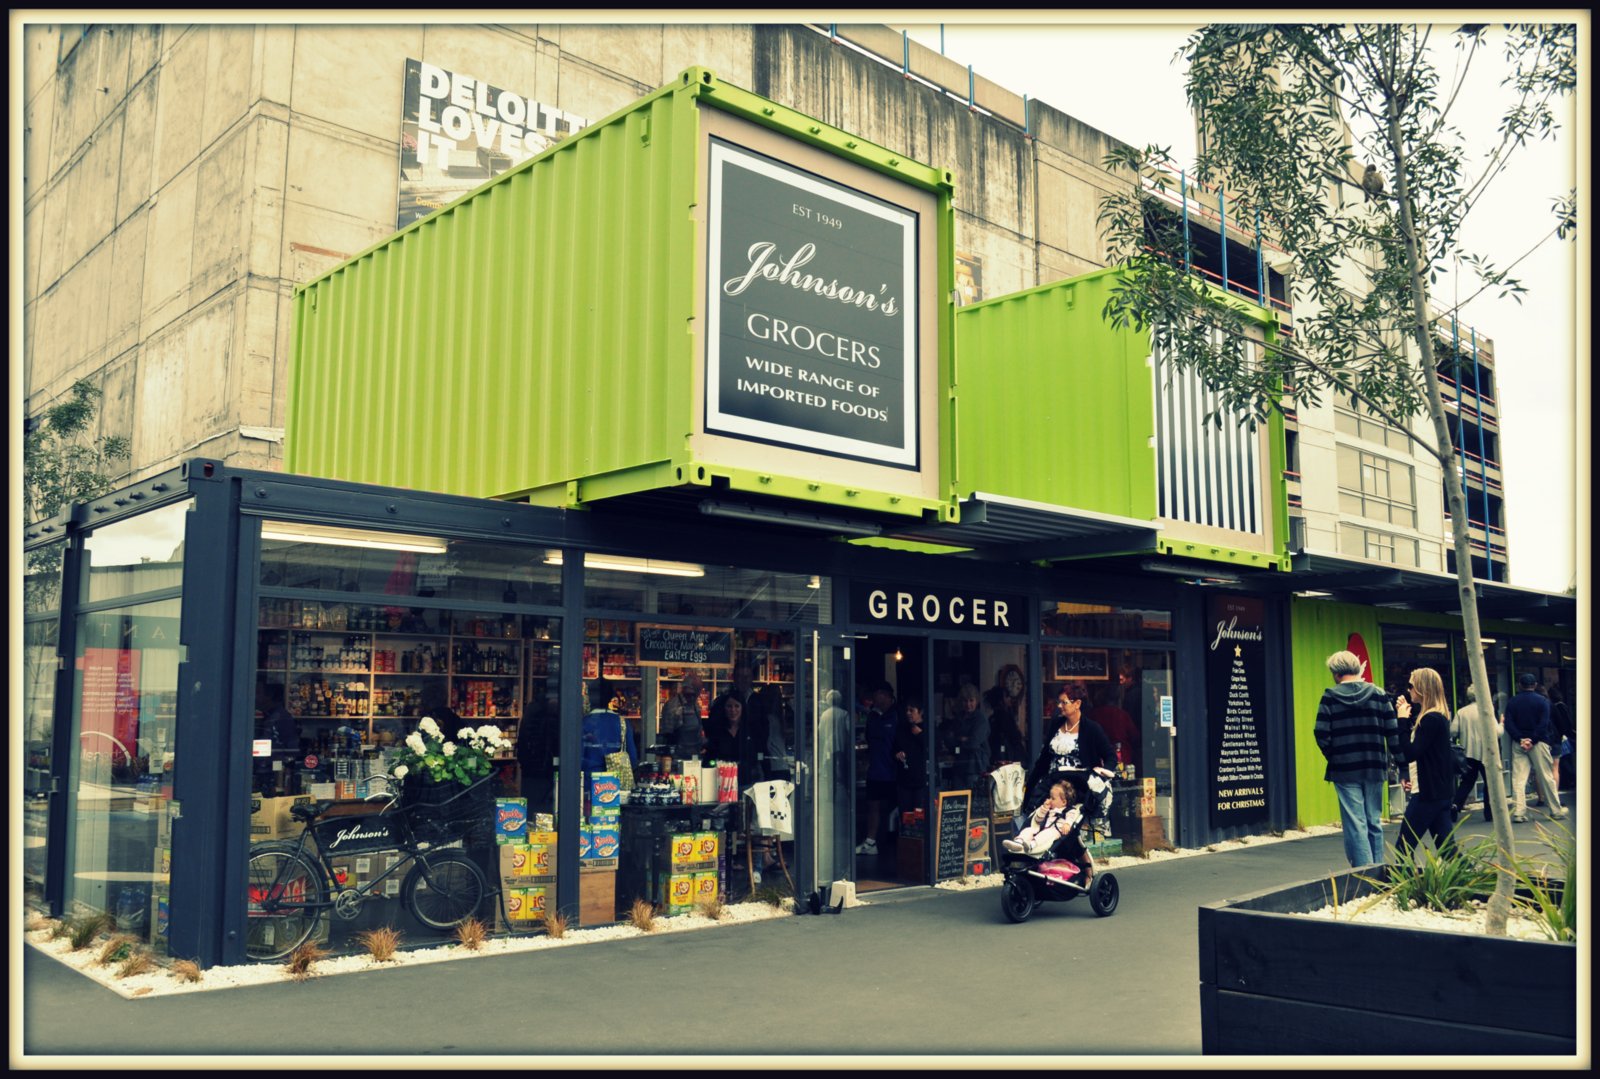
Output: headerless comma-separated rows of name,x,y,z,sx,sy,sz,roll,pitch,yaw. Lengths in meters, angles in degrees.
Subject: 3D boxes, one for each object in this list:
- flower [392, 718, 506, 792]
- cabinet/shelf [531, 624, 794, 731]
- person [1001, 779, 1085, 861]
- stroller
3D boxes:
flower,-3.265,2.017,14.117,0.592,0.401,0.810,8,5,13
cabinet/shelf,-1.321,1.485,15.731,2.490,1.090,0.781,2,1,-1
person,2.556,2.898,15.437,0.582,0.454,0.920,-2,4,35
stroller,2.565,3.240,15.402,0.978,1.465,1.497,-12,-23,41
